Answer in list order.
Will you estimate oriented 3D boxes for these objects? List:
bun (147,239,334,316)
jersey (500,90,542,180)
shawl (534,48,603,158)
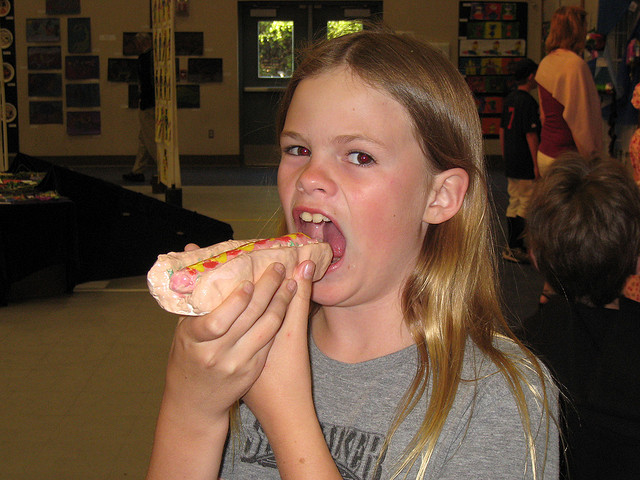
[{"bbox_3d":[-0.195,0.021,1.482,0.430,0.134,0.206,-11,33,-37],"label":"bun"},{"bbox_3d":[2.064,-1.102,5.997,0.278,0.909,0.619,-3,11,-12],"label":"jersey"},{"bbox_3d":[2.136,-1.210,5.017,0.560,0.898,0.296,4,12,23],"label":"shawl"}]
